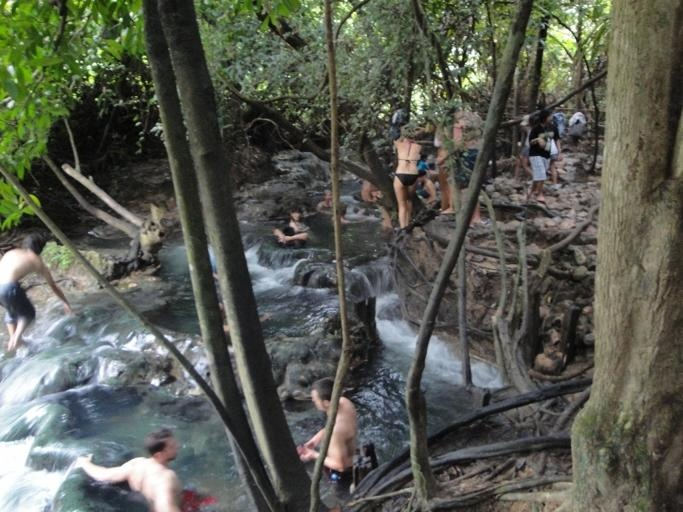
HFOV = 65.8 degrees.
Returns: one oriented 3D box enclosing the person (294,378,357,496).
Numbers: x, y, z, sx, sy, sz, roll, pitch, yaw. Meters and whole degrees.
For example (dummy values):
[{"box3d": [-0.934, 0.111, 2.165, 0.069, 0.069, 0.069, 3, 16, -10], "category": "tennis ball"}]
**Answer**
[{"box3d": [-0.125, 1.641, 4.825, 0.568, 0.969, 0.838, -4, 14, -6], "category": "person"}]
